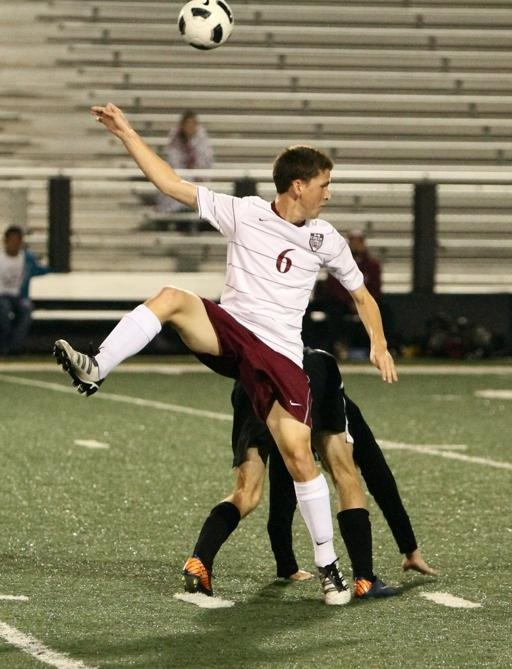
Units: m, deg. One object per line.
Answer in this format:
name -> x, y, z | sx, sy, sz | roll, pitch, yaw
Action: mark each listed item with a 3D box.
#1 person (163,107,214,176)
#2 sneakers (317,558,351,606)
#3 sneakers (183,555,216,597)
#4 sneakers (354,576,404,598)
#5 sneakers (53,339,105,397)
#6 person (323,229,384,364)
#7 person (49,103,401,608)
person -> -0.822, -2.385, 12.279 | 0.574, 0.785, 0.217 | -8, 42, -7
sneakers -> 0.249, 0.767, 3.112 | 0.096, 0.149, 0.133 | 0, 6, 9
sneakers -> -0.188, 0.734, 3.067 | 0.080, 0.146, 0.056 | -27, 37, -4
sneakers -> 0.386, 0.803, 3.164 | 0.127, 0.044, 0.057 | -2, 5, -16
sneakers -> -0.549, 0.114, 3.072 | 0.137, 0.206, 0.281 | -2, 6, -10
person -> 1.165, -0.410, 12.044 | 0.941, 1.389, 0.389 | -9, 17, 1
person -> -0.048, 0.034, 3.224 | 1.015, 1.576, 0.629 | -1, 6, 2
